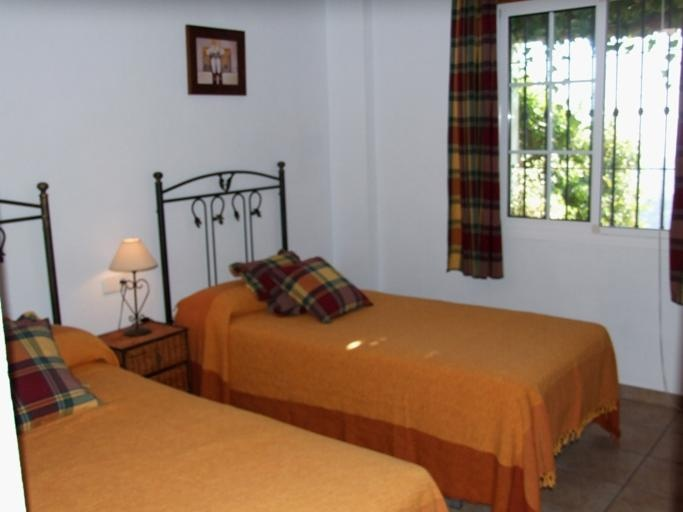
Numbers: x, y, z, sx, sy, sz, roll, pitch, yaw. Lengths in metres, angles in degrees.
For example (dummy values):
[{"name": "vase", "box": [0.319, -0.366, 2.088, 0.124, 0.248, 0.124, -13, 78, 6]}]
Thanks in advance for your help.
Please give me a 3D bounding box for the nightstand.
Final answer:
[{"name": "nightstand", "box": [-1.197, 0.600, 3.345, 0.364, 0.533, 0.490, 6, 15, 31]}]
